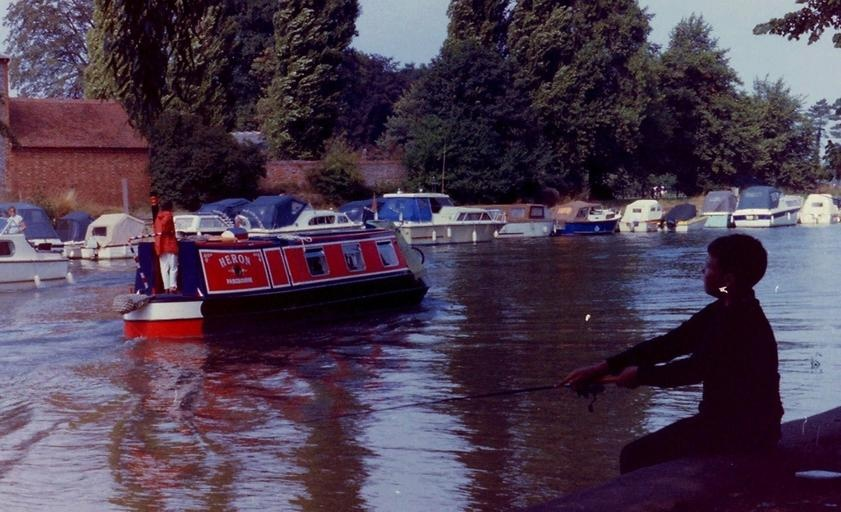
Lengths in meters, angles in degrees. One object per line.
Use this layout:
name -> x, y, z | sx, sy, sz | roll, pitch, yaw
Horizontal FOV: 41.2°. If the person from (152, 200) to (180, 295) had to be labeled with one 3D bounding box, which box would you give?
person -> -7.412, -0.162, 32.821 | 0.954, 2.407, 0.800 | 0, 0, -2
